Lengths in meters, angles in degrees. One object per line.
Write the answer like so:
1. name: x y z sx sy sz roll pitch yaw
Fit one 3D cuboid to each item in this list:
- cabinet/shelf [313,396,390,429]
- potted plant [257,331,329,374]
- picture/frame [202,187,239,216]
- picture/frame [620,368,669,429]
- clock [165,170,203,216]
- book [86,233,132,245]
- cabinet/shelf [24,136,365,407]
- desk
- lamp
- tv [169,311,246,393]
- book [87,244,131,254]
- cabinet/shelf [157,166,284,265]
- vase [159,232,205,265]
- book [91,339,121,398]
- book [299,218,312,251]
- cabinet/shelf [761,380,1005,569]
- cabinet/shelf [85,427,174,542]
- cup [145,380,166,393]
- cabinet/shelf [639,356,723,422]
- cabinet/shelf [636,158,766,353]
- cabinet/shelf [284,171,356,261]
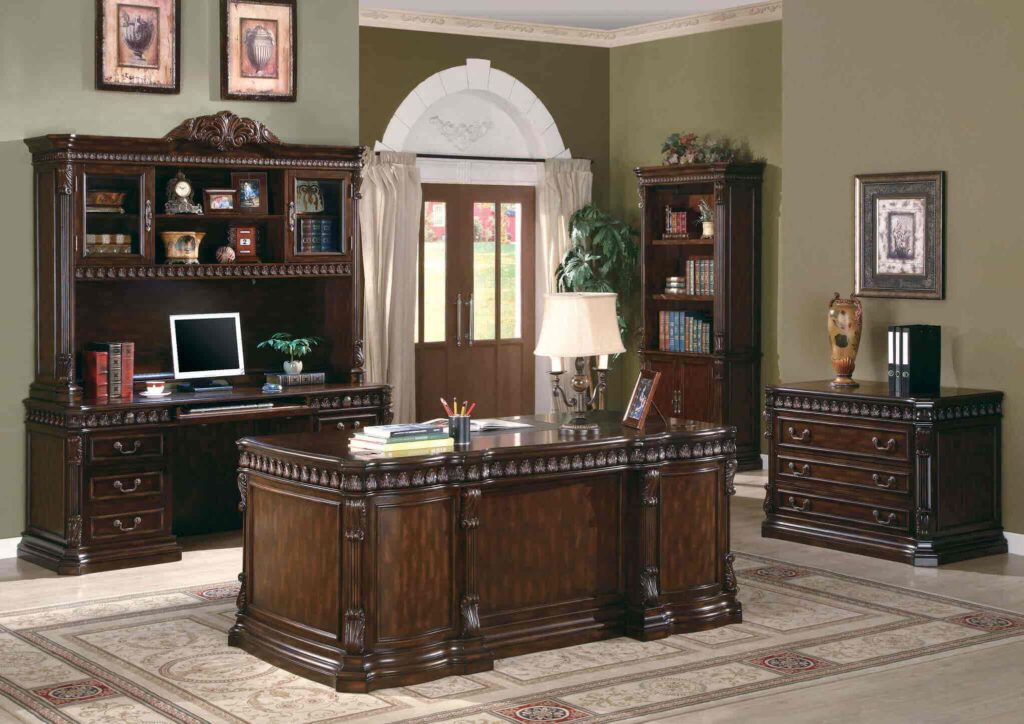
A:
1. cabinet/shelf: -1.218 0.279 7.150 0.482 0.437 0.258 -3 3 -35
2. potted plant: -1.780 -0.101 7.394 0.374 0.232 0.409 1 -1 -1
3. picture/frame: -2.146 -1.177 6.893 0.245 0.208 0.024 -3 1 -33
4. picture/frame: 0.771 0.213 5.363 0.209 0.291 0.181 -3 13 -39
5. clock: -2.388 -1.232 6.819 0.261 0.336 0.242 -1 3 -20
6. book: -2.789 -0.852 6.462 0.309 0.089 0.056 -3 4 -40
7. cabinet/shelf: -2.248 -0.664 6.995 2.443 1.748 0.649 -7 10 -43
8. desk: -0.074 0.949 4.874 2.500 1.093 0.750 -1 3 -20
9. lamp: 0.343 0.064 5.334 0.480 0.445 0.692 0 27 -14
10. tv: -2.319 -0.074 7.046 0.614 0.594 0.198 -4 3 -42
11. book: -2.765 -0.773 6.444 0.280 0.078 0.066 -2 3 -29
12. cabinet/shelf: -2.145 -1.080 6.874 0.918 0.725 0.296 -4 12 -30
13. vase: -2.402 -0.820 6.778 0.260 0.183 0.256 0 -1 4
14. book: -2.775 0.068 6.507 0.109 0.331 0.249 2 -1 -18
15. book: -1.568 -0.975 7.129 0.045 0.188 0.185 2 3 -5
16. cabinet/shelf: 2.814 0.831 7.165 1.004 1.100 1.566 -1 0 -26
17. cabinet/shelf: -2.737 0.849 6.773 0.724 0.930 0.639 -1 1 -34
18. cup: -2.576 0.176 6.791 0.096 0.067 0.102 1 -5 0
19. cabinet/shelf: 1.678 0.371 9.810 0.984 0.880 0.397 3 -6 -20
20. cabinet/shelf: 1.945 -1.055 9.625 1.174 1.919 0.638 2 4 38
21. cabinet/shelf: -1.465 -1.095 7.126 0.537 0.717 0.265 -1 -1 -18
